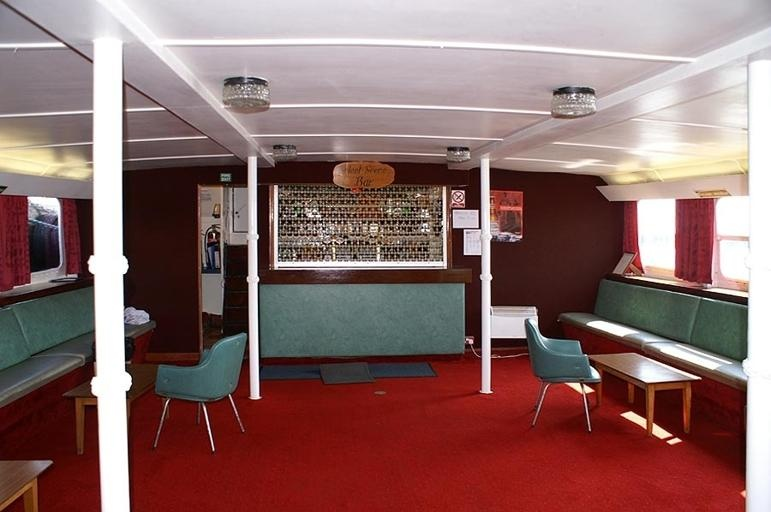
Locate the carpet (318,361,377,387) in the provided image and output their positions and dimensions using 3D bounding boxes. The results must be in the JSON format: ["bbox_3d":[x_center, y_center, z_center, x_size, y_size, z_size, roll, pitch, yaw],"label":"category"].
[{"bbox_3d":[-0.579,1.724,7.882,0.748,0.059,0.825,-1,11,-9],"label":"carpet"}]

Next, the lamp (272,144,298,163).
[{"bbox_3d":[-1.253,-1.286,6.672,0.224,0.125,0.215,-1,-1,-6],"label":"lamp"}]

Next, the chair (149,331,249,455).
[{"bbox_3d":[-1.991,1.548,6.402,1.228,1.600,1.275,1,-7,5],"label":"chair"}]

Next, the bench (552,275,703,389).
[{"bbox_3d":[3.879,0.918,8.114,1.031,1.299,2.813,0,5,-17],"label":"bench"}]

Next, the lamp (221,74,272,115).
[{"bbox_3d":[-1.153,-1.362,4.417,0.358,0.254,0.168,-1,12,-10],"label":"lamp"}]

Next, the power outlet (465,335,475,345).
[{"bbox_3d":[1.412,1.406,8.868,0.218,0.136,0.114,1,-6,-4],"label":"power outlet"}]

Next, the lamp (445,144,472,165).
[{"bbox_3d":[0.961,-1.337,6.984,0.300,0.206,0.355,2,11,6],"label":"lamp"}]

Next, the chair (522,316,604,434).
[{"bbox_3d":[2.013,1.406,6.788,1.294,1.436,1.186,-1,0,8],"label":"chair"}]

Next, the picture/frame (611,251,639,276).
[{"bbox_3d":[4.096,0.128,9.135,0.400,0.503,0.388,-2,5,-21],"label":"picture/frame"}]

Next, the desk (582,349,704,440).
[{"bbox_3d":[3.160,1.526,6.420,0.775,0.641,1.382,-1,4,-7],"label":"desk"}]

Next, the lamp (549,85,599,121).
[{"bbox_3d":[1.651,-1.332,4.698,0.311,0.166,0.301,-1,-1,7],"label":"lamp"}]
